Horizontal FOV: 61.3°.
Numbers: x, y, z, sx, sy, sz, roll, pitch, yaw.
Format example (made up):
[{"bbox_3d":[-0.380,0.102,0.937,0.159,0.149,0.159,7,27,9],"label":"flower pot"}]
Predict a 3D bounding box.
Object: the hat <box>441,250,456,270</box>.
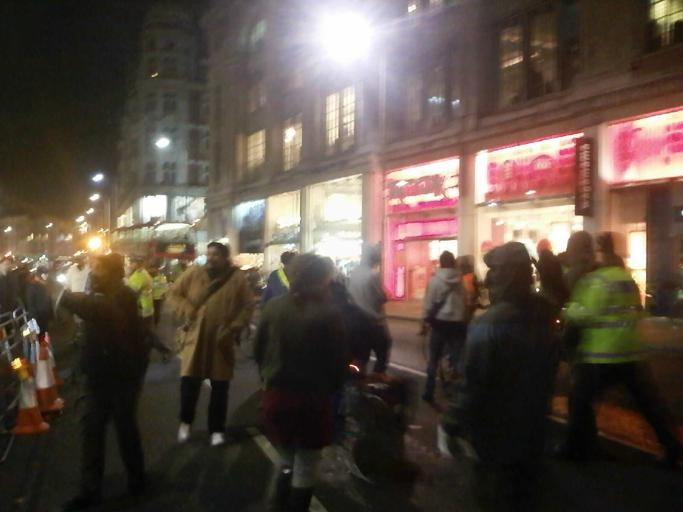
[{"bbox_3d":[1.608,0.070,8.763,0.188,0.270,0.227,-2,-3,0],"label":"hat"}]
